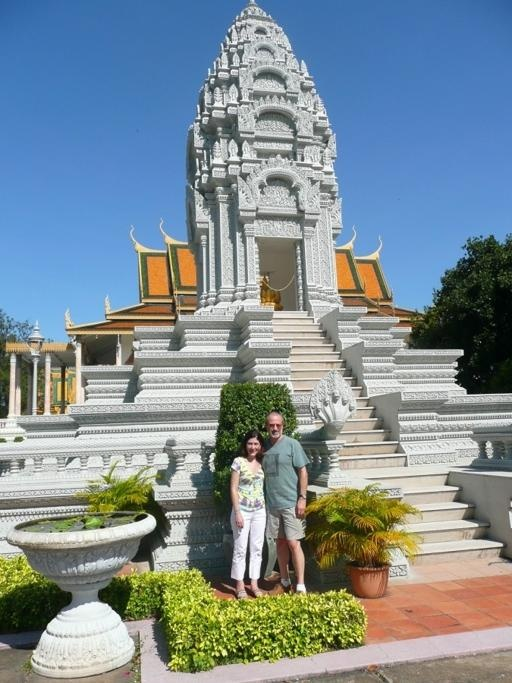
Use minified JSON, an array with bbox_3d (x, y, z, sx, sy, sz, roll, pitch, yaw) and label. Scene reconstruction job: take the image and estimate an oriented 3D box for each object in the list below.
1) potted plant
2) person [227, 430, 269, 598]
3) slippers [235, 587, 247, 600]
[{"bbox_3d":[0.801,1.486,5.480,0.877,0.701,0.795,-4,3,-13],"label":"potted plant"},{"bbox_3d":[-0.062,1.312,5.257,0.273,1.235,0.623,-2,-5,0],"label":"person"},{"bbox_3d":[-0.116,1.836,5.132,0.095,0.067,0.257,2,-13,-7],"label":"slippers"}]
